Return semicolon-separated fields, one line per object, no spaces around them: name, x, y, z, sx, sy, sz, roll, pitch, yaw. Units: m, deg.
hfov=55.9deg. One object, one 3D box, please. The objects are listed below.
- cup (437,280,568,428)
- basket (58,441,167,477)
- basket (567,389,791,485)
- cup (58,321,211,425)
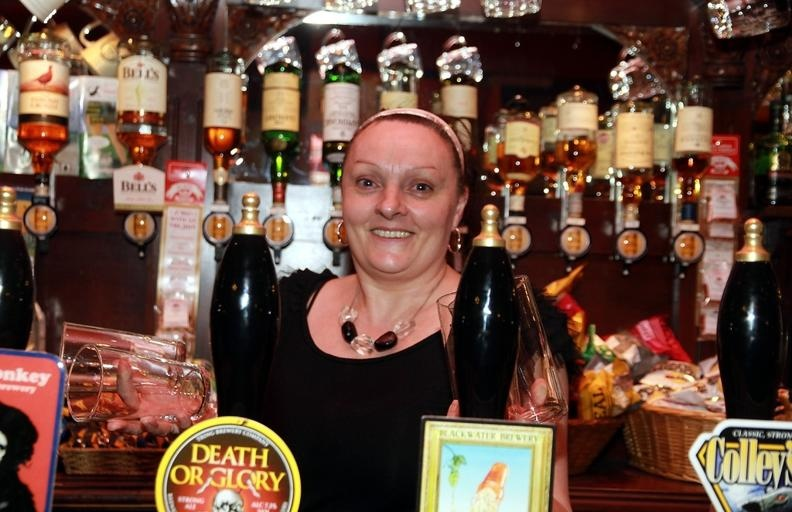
cup;0.224;0.183;1.547;0.274;0.295;0.230;3;-3;-1
basket;-0.850;0.614;2.292;0.177;0.051;0.170;0;-6;-1
basket;0.900;0.563;2.385;0.665;0.321;0.297;2;-3;17
cup;-0.597;0.269;1.703;0.292;0.153;0.288;17;13;-4
